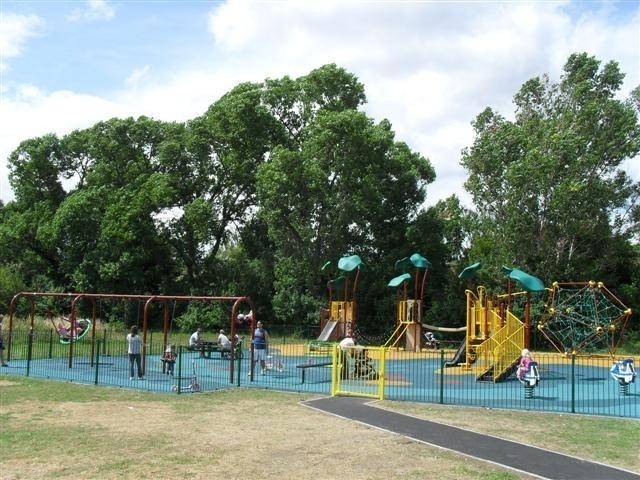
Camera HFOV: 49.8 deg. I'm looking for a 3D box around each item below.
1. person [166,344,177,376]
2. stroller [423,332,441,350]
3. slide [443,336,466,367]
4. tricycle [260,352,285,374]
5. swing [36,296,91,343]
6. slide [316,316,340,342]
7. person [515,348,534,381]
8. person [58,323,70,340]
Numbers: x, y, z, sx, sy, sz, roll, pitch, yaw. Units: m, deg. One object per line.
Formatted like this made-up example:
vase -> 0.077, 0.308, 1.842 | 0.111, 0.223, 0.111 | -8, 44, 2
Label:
person -> -6.012, 4.840, 27.789 | 0.414, 1.271, 2.140 | 2, -11, -12
stroller -> 7.714, 6.920, 47.554 | 0.710, 0.950, 2.307 | 28, -24, 22
slide -> 6.321, 5.308, 31.903 | 0.912, 1.156, 1.409 | -2, -11, 12
tricycle -> -2.004, 5.373, 31.022 | 1.218, 0.912, 0.684 | 11, -23, -31
swing -> -12.345, 4.005, 33.599 | 1.812, 1.980, 1.808 | -22, 7, 1
slide -> 0.507, 5.734, 43.560 | 0.628, 1.532, 1.746 | -7, -13, 36
person -> 7.555, 4.601, 25.321 | 0.530, 1.128, 1.082 | -3, -11, 18
person -> -12.326, 4.451, 33.252 | 0.542, 0.821, 0.223 | -7, -12, 31
